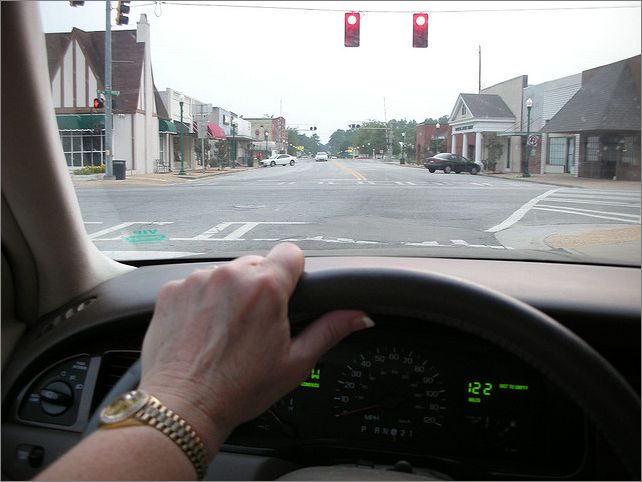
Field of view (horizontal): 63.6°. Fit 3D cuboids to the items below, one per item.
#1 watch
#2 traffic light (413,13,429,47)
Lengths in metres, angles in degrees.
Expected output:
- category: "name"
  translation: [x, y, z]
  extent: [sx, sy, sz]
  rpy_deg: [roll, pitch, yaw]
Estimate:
- category: "watch"
  translation: [-0.280, 0.332, 0.876]
  extent: [0.112, 0.119, 0.071]
  rpy_deg: [-34, 44, -24]
- category: "traffic light"
  translation: [0.470, -0.990, 2.464]
  extent: [0.075, 0.164, 0.252]
  rpy_deg: [3, 14, 8]
